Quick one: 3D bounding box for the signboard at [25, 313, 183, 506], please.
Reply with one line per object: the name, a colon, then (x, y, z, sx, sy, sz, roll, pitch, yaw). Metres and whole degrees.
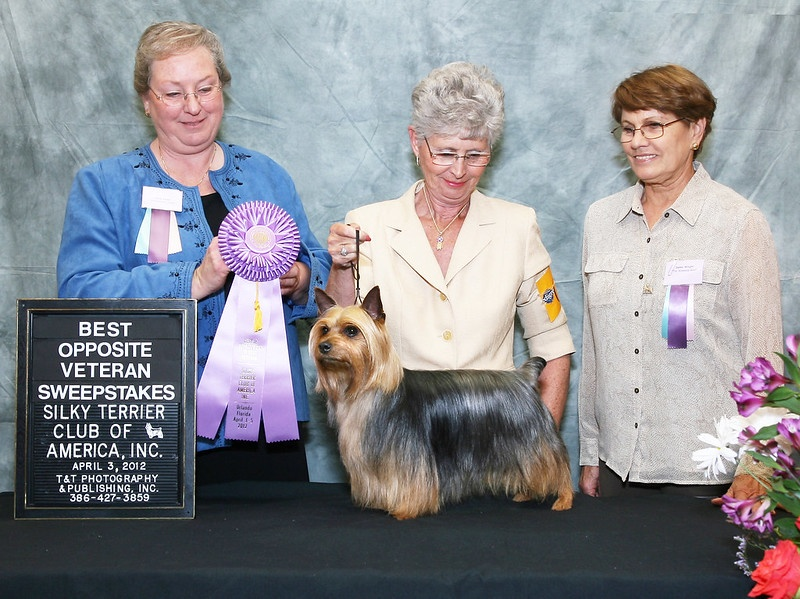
signboard: (-1.175, 0.463, 3.592, 0.806, 0.843, 0.062, -1, -6, -4)

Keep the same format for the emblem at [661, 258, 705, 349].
emblem: (1.256, 0.016, 4.087, 0.191, 0.368, 0.065, -3, 0, 15)

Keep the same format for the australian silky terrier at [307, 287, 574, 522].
australian silky terrier: (0.136, 0.441, 3.879, 1.149, 0.905, 0.489, 2, 1, -26)

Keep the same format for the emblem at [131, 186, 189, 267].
emblem: (-1.061, -0.332, 4.032, 0.208, 0.349, 0.056, -3, 0, -14)

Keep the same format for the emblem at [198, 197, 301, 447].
emblem: (-0.658, 0.064, 4.063, 0.426, 1.066, 0.405, -3, 14, -24)
